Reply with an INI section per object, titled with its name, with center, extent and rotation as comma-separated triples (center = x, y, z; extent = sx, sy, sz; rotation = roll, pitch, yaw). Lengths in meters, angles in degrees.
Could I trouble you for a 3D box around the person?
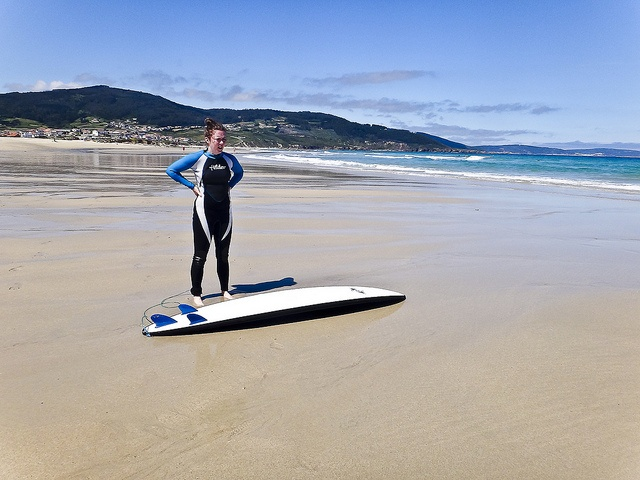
[person]
center = -1.450, -0.366, 6.918
extent = 0.845, 2.393, 1.035
rotation = 3, 13, -7
